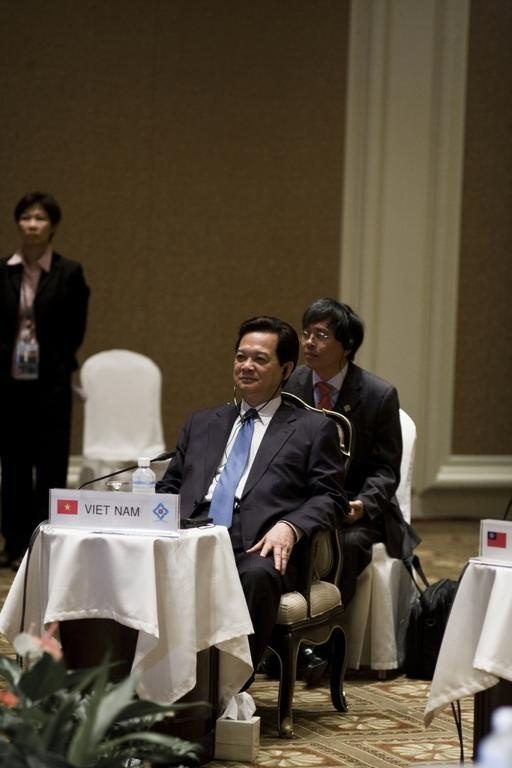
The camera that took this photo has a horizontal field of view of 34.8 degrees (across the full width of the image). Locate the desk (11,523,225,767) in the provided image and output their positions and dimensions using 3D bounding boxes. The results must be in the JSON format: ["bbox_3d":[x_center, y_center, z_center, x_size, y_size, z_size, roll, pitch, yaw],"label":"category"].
[{"bbox_3d":[-0.310,0.640,2.425,0.715,0.621,0.751,-4,-8,33],"label":"desk"}]

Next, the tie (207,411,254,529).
[{"bbox_3d":[-0.059,0.302,2.875,0.104,0.427,0.040,2,-33,34],"label":"tie"}]
